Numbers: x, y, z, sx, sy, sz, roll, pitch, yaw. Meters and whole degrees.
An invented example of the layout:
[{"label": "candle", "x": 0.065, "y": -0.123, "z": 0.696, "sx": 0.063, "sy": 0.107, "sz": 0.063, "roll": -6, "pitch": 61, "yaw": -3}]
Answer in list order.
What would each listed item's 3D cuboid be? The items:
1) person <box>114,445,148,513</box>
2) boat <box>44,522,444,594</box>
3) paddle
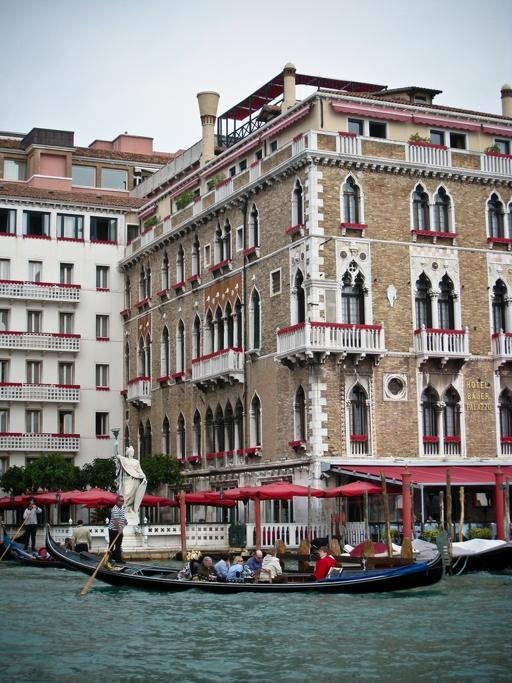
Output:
[{"label": "person", "x": -4.301, "y": 4.813, "z": 41.041, "sx": 0.961, "sy": 2.229, "sz": 1.212, "roll": 4, "pitch": -13, "yaw": -27}, {"label": "boat", "x": -0.097, "y": 5.025, "z": 27.436, "sx": 9.363, "sy": 1.525, "sz": 1.326, "roll": 0, "pitch": 3, "yaw": -5}, {"label": "paddle", "x": -3.780, "y": 5.459, "z": 29.584, "sx": 0.282, "sy": 0.487, "sz": 3.826, "roll": 9, "pitch": -38, "yaw": -25}]
